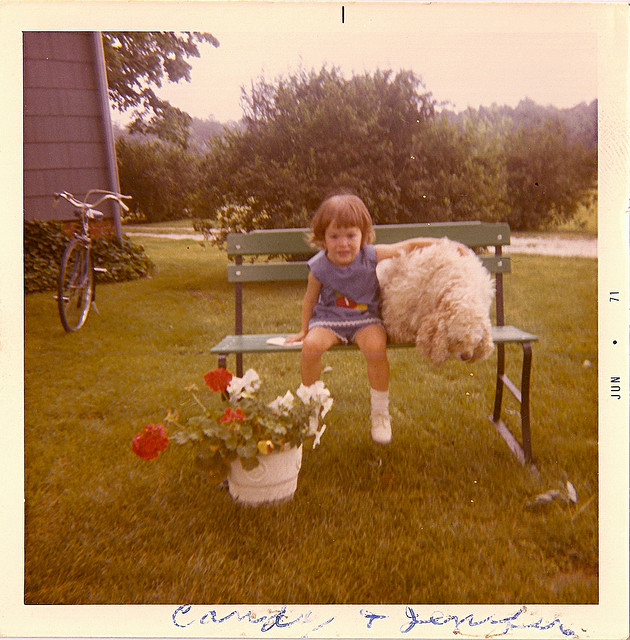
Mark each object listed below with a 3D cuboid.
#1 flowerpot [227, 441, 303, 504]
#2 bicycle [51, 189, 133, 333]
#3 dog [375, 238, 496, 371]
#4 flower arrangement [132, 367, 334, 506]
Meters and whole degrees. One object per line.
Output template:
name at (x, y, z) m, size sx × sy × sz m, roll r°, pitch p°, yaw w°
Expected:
flowerpot at (-0.153, 0.479, 1.783) m, size 0.229 × 0.188 × 0.297 m, roll 1°, pitch 17°, yaw -17°
bicycle at (-0.720, -0.188, 1.671) m, size 0.271 × 0.430 × 0.161 m, roll 2°, pitch 11°, yaw 17°
dog at (0.393, -0.065, 1.783) m, size 0.379 × 0.396 × 0.196 m, roll 0°, pitch 10°, yaw 7°
flower arrangement at (-0.239, 0.352, 1.699) m, size 0.603 × 0.418 × 0.251 m, roll -2°, pitch 11°, yaw -1°
